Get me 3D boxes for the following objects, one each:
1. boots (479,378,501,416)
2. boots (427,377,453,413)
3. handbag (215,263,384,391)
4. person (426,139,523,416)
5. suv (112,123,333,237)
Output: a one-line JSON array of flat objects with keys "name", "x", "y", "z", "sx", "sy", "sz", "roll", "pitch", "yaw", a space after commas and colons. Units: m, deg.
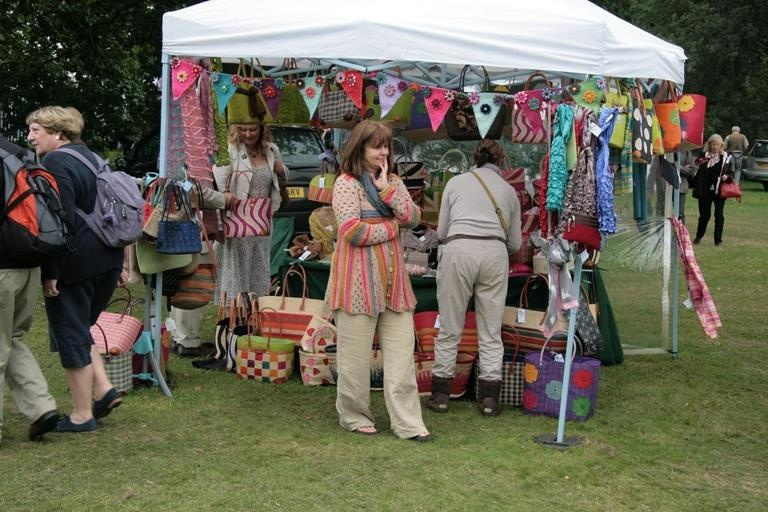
[{"name": "boots", "x": 1.007, "y": 1.282, "z": 7.030, "sx": 0.180, "sy": 0.325, "sz": 0.522, "roll": 5, "pitch": 5, "yaw": 17}, {"name": "boots", "x": 0.487, "y": 1.270, "z": 6.992, "sx": 0.177, "sy": 0.351, "sz": 0.363, "roll": 8, "pitch": -6, "yaw": -19}, {"name": "handbag", "x": -0.806, "y": 0.719, "z": 7.173, "sx": 1.125, "sy": 1.031, "sz": 0.403, "roll": 3, "pitch": 1, "yaw": 12}, {"name": "person", "x": 0.800, "y": 0.185, "z": 6.920, "sx": 0.789, "sy": 2.480, "sz": 0.461, "roll": 0, "pitch": 4, "yaw": 3}, {"name": "suv", "x": -1.509, "y": -0.771, "z": 7.893, "sx": 1.375, "sy": 1.242, "sz": 2.364, "roll": -2, "pitch": 10, "yaw": -32}]
